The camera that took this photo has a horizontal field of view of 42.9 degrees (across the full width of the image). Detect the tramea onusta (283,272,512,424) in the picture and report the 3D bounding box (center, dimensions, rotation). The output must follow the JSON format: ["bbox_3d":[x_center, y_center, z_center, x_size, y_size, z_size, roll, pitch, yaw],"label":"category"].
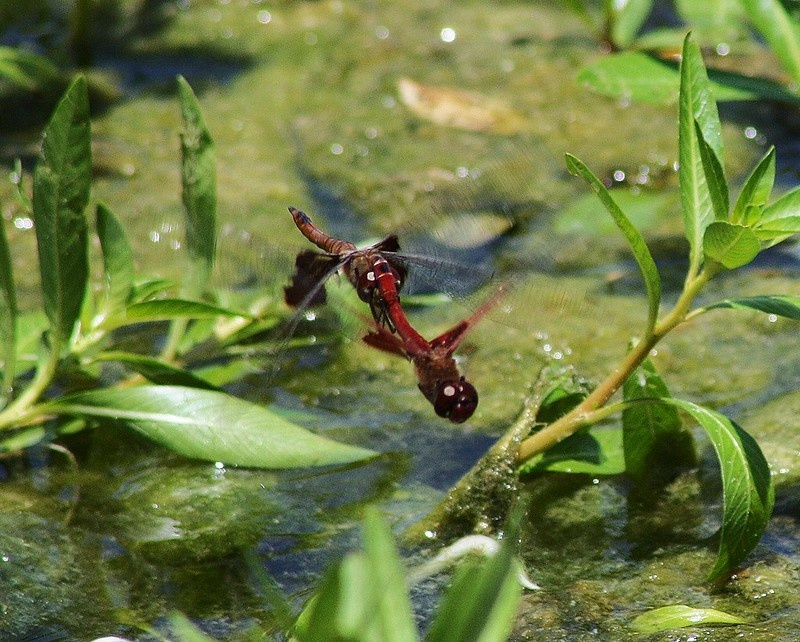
[{"bbox_3d":[0.147,0.029,2.554,0.349,0.138,0.350,-37,58,-17],"label":"tramea onusta"}]
